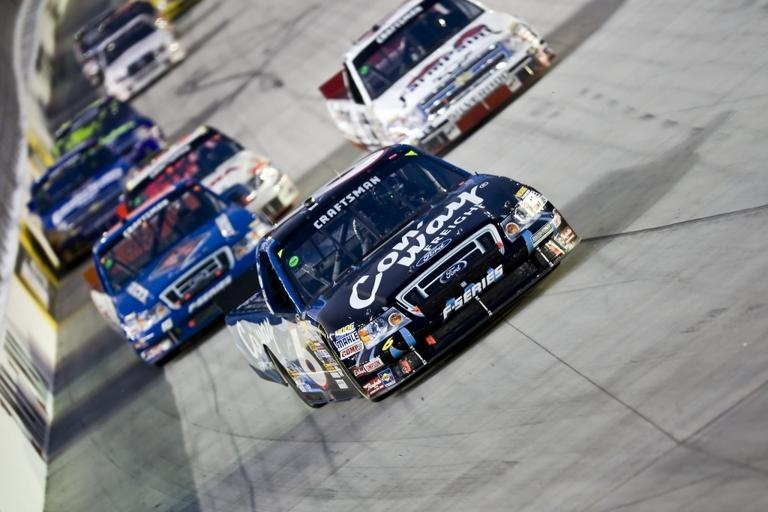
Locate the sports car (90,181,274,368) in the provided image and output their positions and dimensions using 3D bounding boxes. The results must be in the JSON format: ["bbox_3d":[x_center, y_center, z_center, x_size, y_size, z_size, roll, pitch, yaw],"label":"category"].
[{"bbox_3d":[-3.319,-0.124,19.859,2.826,1.698,4.400,-36,21,-3],"label":"sports car"}]
